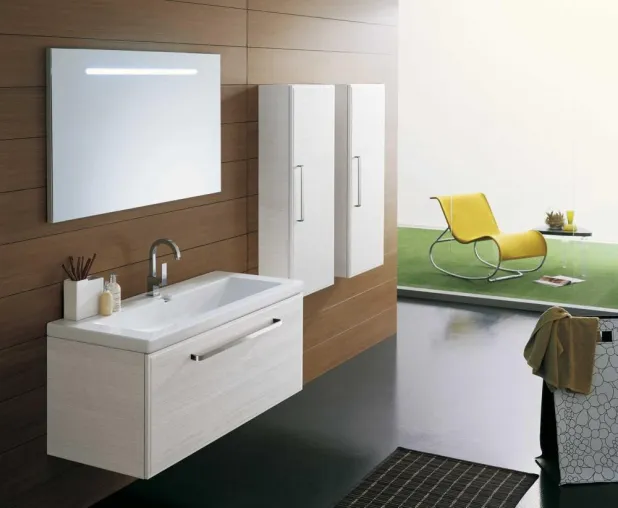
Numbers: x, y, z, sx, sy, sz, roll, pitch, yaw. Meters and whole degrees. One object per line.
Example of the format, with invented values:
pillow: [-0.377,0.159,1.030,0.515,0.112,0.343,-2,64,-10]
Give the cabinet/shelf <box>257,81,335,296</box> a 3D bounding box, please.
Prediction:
cabinet/shelf: [-0.068,-0.441,3.455,0.575,1.429,0.335,-2,9,-14]

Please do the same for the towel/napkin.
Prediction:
towel/napkin: [1.358,0.532,2.727,0.321,0.450,0.166,5,10,27]

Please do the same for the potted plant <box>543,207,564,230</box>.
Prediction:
potted plant: [2.684,-0.383,5.556,0.192,0.199,0.189,3,5,23]

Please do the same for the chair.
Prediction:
chair: [2.049,-0.210,5.898,0.758,0.896,1.075,-7,12,-27]
